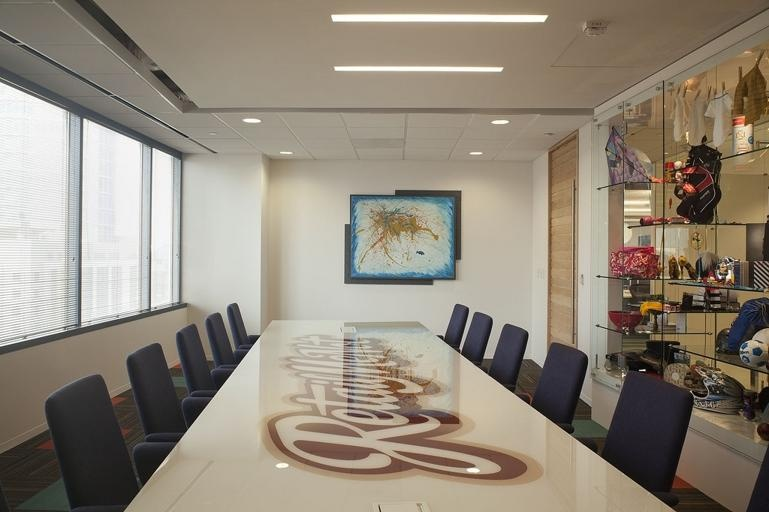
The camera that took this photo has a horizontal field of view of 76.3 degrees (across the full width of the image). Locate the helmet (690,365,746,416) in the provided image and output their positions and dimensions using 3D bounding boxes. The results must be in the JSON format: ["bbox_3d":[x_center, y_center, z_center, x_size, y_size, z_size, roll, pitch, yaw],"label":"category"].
[{"bbox_3d":[3.005,1.175,4.419,0.374,0.307,0.591,-12,-6,-15],"label":"helmet"}]

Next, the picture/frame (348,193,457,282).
[{"bbox_3d":[0.305,-0.312,7.953,1.444,1.105,0.053,-1,1,2],"label":"picture/frame"}]
